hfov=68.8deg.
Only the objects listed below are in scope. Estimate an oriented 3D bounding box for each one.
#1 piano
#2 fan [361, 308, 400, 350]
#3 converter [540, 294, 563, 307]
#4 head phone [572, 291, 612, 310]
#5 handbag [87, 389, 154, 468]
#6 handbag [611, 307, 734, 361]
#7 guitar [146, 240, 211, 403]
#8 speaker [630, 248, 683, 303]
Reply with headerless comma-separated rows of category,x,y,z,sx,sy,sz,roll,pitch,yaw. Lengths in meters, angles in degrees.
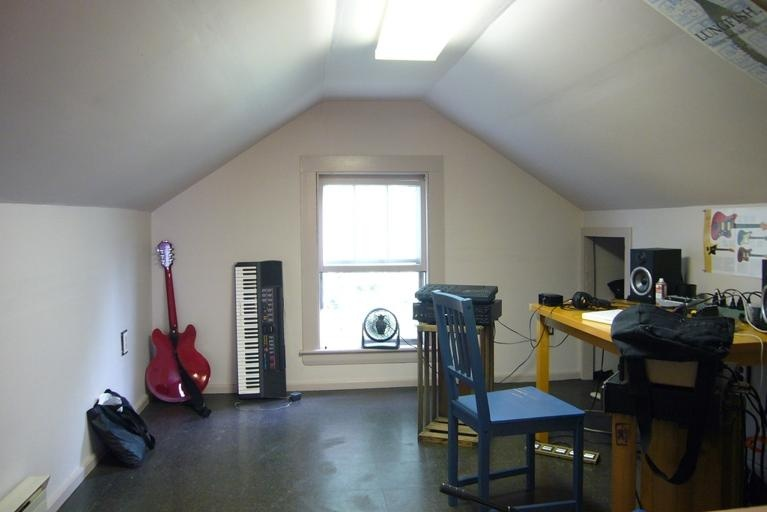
piano,-1.106,0.658,4.997,0.409,1.185,0.340,-2,10,-7
fan,-0.031,0.701,5.258,0.361,0.410,0.092,1,-2,-7
converter,1.159,0.306,3.892,0.091,0.072,0.128,2,0,-14
head phone,1.400,0.318,3.774,0.194,0.092,0.151,24,5,17
handbag,-1.883,1.234,3.957,0.255,0.413,0.416,-31,-7,-5
handbag,1.452,0.394,2.819,0.559,0.193,0.346,4,11,26
guitar,-1.792,0.581,4.858,0.612,1.364,0.566,1,10,10
speaker,1.941,0.124,4.006,0.294,0.350,0.194,-5,6,-25
